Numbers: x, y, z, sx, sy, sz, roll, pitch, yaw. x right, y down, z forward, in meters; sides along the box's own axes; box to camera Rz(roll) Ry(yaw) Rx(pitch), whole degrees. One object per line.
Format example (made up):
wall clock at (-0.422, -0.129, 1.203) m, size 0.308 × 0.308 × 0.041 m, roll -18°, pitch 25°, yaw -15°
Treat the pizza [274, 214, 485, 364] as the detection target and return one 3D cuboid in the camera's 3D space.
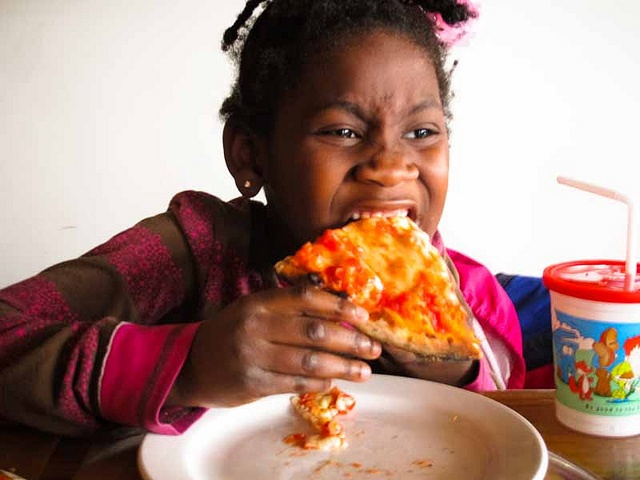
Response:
pizza at (0.217, 0.099, 1.629) m, size 0.353 × 0.158 × 0.671 m, roll -32°, pitch 33°, yaw -11°
